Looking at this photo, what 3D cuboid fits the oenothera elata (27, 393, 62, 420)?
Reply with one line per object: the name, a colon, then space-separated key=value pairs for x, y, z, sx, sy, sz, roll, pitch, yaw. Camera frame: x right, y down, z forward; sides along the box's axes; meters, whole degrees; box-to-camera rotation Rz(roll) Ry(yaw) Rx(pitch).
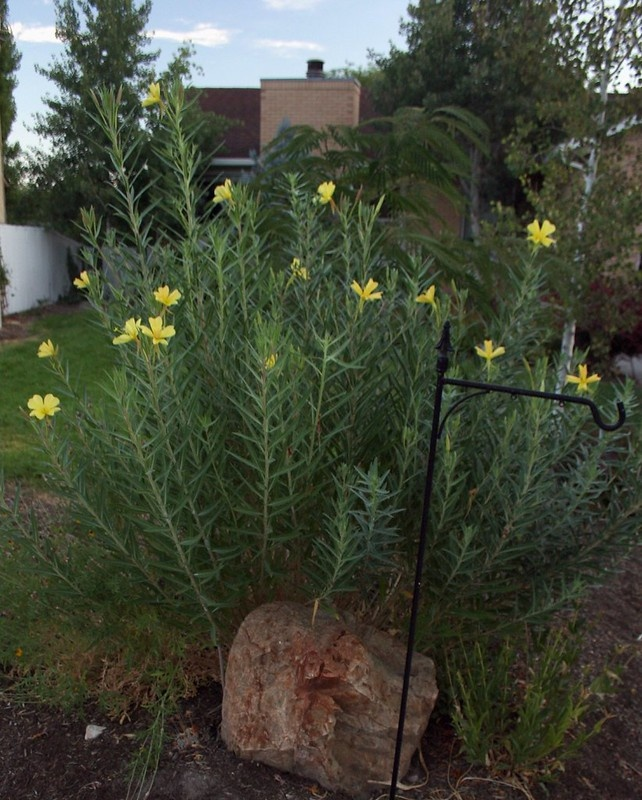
oenothera elata: x=-0.655 y=0.010 z=1.694 sx=0.087 sy=0.084 sz=0.040 roll=0 pitch=-7 yaw=-11
